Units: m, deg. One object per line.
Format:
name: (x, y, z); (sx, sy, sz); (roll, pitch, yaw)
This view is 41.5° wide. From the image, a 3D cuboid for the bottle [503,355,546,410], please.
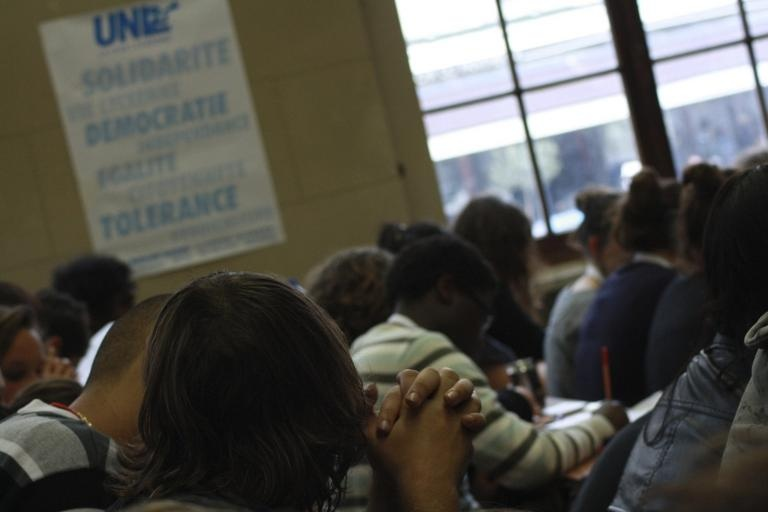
bottle: (0.269, 0.247, 1.952); (0.040, 0.108, 0.100); (-27, -14, 2)
